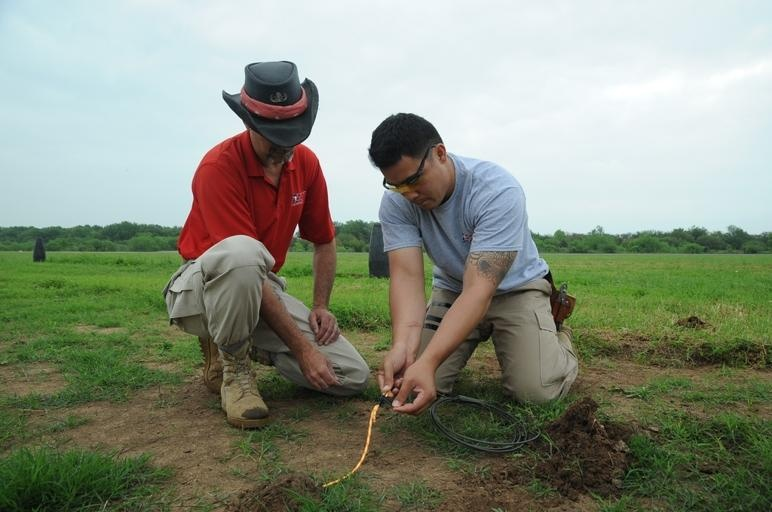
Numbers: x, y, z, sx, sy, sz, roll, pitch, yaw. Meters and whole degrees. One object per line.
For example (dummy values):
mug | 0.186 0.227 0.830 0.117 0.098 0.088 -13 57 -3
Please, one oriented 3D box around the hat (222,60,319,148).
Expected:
hat | -0.892 -1.289 4.272 0.809 0.465 0.938 6 32 11

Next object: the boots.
boots | -1.221 1.001 4.375 0.315 0.513 1.023 -7 6 -24
